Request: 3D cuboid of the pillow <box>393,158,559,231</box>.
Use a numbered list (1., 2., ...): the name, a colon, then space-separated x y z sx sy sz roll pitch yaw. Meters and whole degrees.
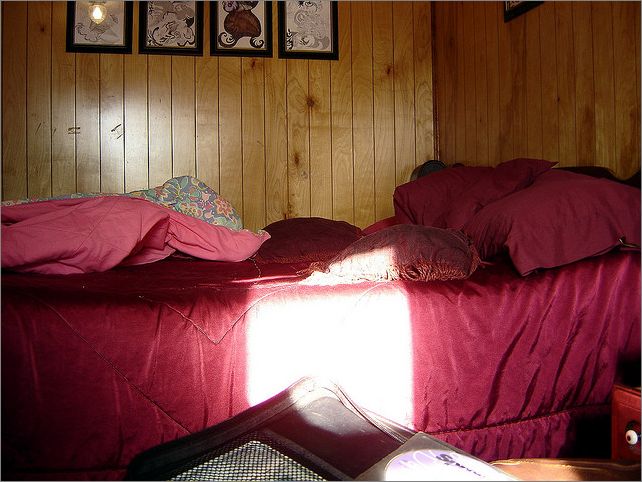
1. pillow: 0.662 -0.233 2.244 0.434 0.158 0.403 -21 10 1
